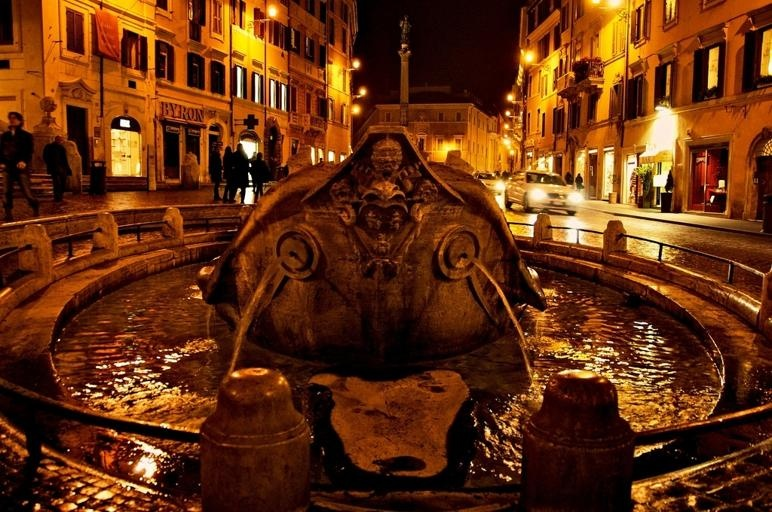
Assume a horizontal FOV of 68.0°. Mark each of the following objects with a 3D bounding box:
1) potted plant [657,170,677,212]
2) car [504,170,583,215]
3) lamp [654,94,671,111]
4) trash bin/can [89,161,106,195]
[{"bbox_3d":[14.223,-3.250,28.555,0.536,2.001,1.234,4,8,28],"label":"potted plant"},{"bbox_3d":[7.492,-3.040,27.213,2.051,1.935,3.949,-1,9,-15],"label":"car"},{"bbox_3d":[14.838,-8.132,30.381,0.624,0.829,0.838,-2,9,1],"label":"lamp"},{"bbox_3d":[-11.786,-3.086,23.100,0.518,1.140,0.504,-5,9,-36],"label":"trash bin/can"}]
